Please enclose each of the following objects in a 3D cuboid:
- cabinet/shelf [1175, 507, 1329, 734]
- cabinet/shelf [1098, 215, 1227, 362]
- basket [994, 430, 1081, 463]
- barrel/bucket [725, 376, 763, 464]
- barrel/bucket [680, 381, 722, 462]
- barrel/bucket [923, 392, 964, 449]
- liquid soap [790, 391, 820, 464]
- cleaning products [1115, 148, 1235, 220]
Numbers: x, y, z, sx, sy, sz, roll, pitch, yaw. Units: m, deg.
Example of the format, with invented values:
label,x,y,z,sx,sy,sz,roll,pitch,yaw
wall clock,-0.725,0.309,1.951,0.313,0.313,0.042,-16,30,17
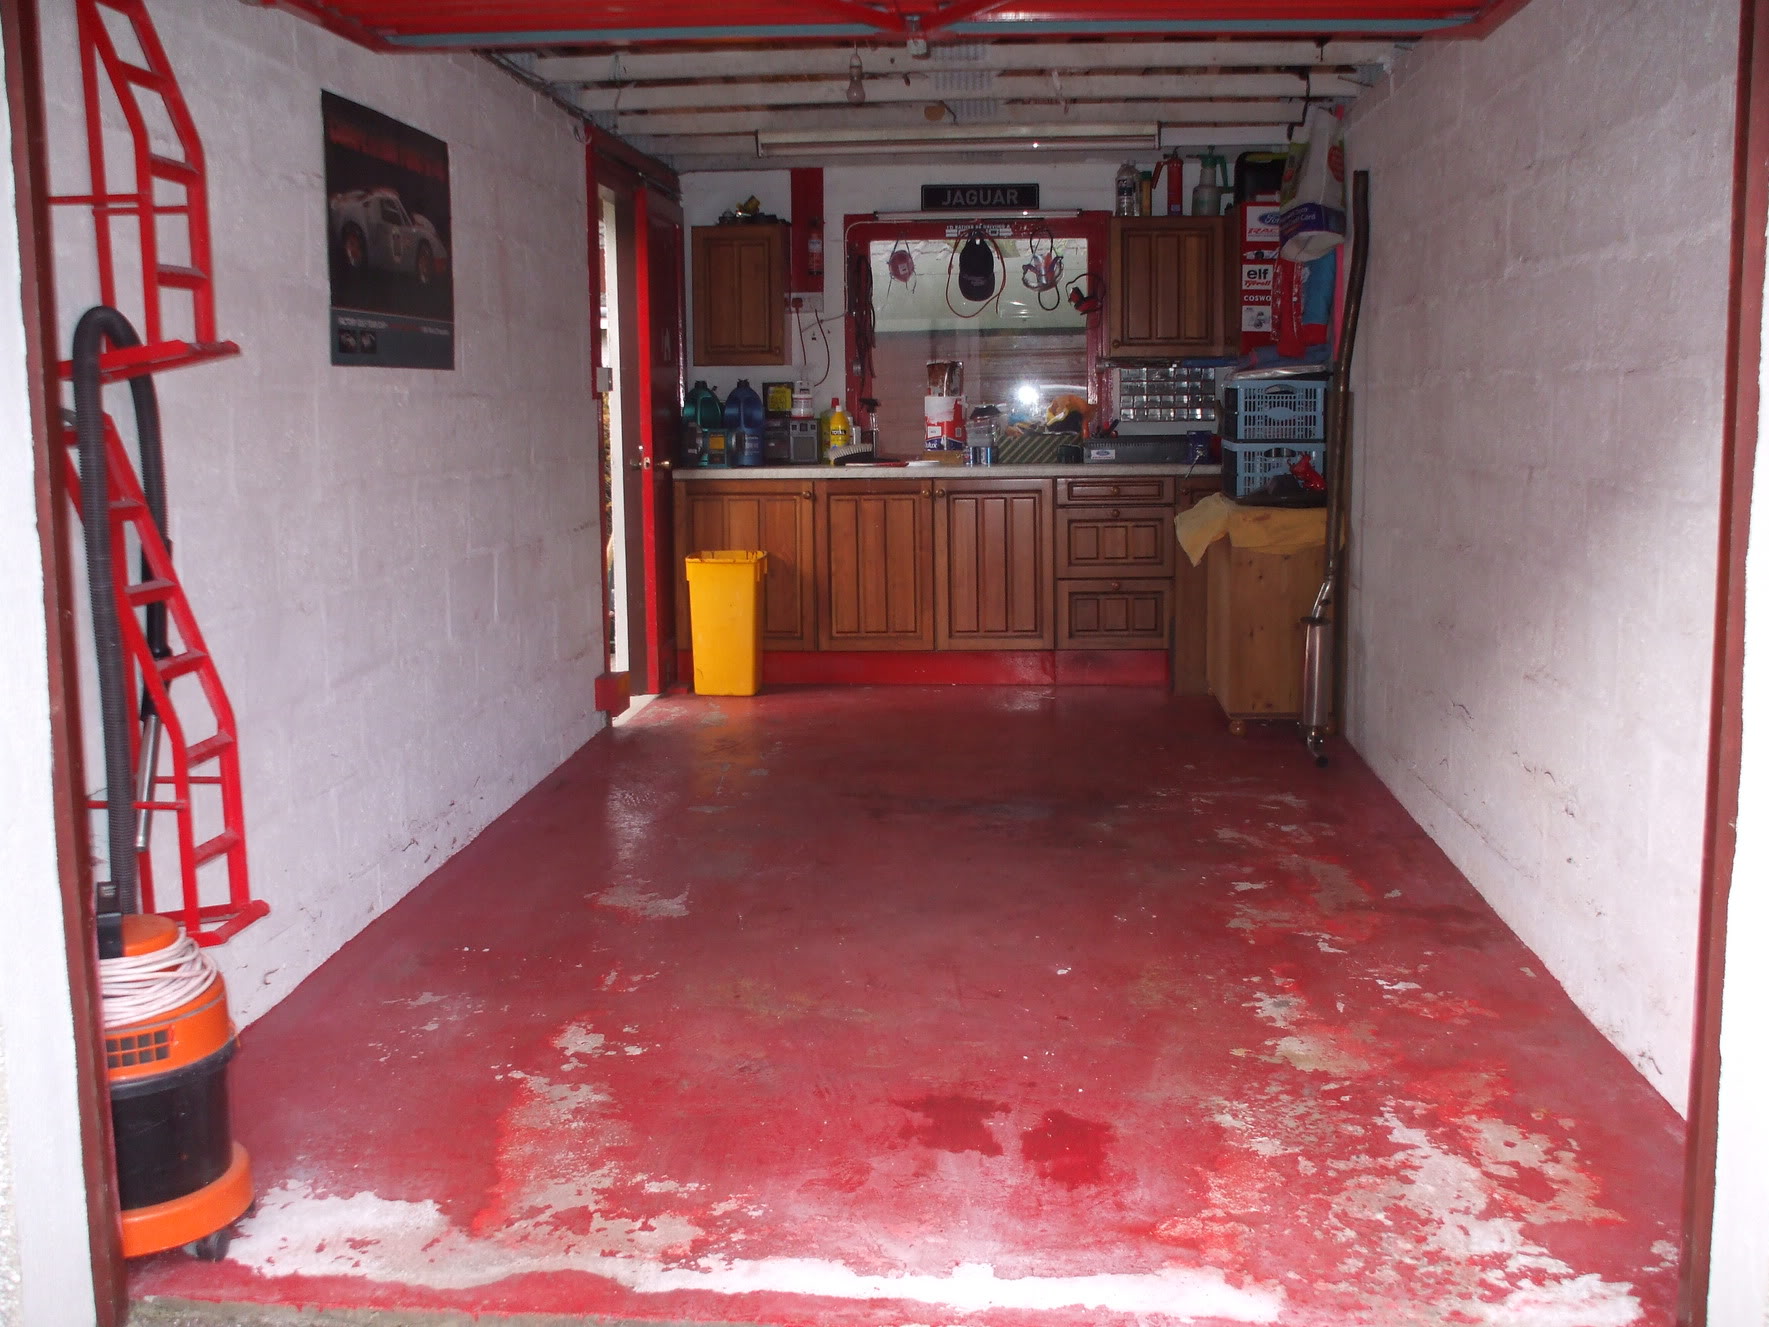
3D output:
label,x,y,z,sx,sy,sz,roll,pitch,yaw
cabinet/shelf,1.748,-0.207,6.242,0.333,0.950,0.966,-1,10,-2
cabinet/shelf,1.646,-2.222,7.866,0.680,0.781,0.555,1,16,8
basket,0.897,-1.280,7.777,0.494,0.200,0.188,1,13,6
barrel/bucket,-0.808,-1.404,7.805,0.225,0.460,0.457,-1,13,-6
barrel/bucket,-1.051,-1.425,7.845,0.261,0.475,0.434,-2,13,-8
barrel/bucket,0.376,-1.447,8.014,0.240,0.322,0.323,0,13,3
liquid soap,-0.457,-1.398,7.903,0.166,0.395,0.326,1,13,7
cleaning products,1.692,-2.788,7.755,0.668,0.349,0.108,3,13,15
